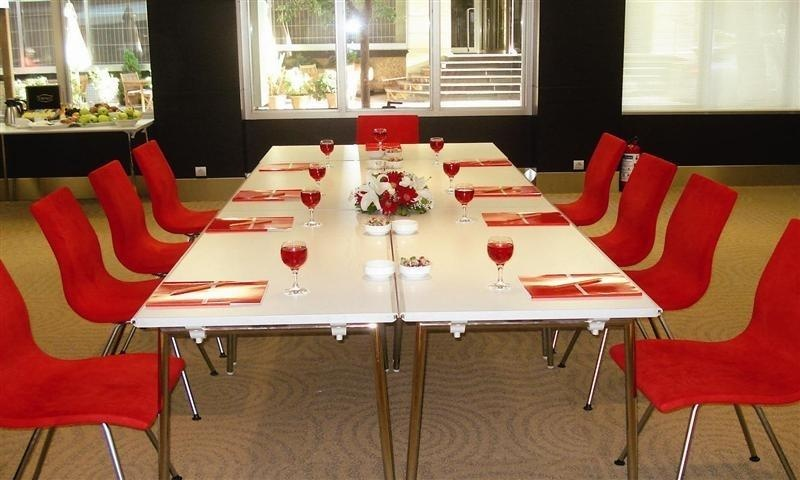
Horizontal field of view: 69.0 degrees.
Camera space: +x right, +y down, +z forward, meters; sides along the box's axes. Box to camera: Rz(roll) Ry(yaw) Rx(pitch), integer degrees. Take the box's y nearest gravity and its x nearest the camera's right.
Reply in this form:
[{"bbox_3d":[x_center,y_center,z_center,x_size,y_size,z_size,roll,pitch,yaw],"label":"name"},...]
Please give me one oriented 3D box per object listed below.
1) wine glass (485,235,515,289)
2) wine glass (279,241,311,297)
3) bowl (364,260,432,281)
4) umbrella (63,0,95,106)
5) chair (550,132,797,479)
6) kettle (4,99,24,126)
[{"bbox_3d":[0.524,0.085,3.035,0.123,0.248,0.295,2,20,9],"label":"wine glass"},{"bbox_3d":[-0.535,0.110,2.998,0.116,0.251,0.298,-5,20,-8],"label":"wine glass"},{"bbox_3d":[-0.008,0.159,3.072,0.246,0.057,0.142,1,13,3],"label":"bowl"},{"bbox_3d":[-4.526,-2.651,8.227,0.398,1.382,0.249,-4,21,-6],"label":"umbrella"},{"bbox_3d":[1.890,0.446,4.110,0.876,1.472,2.546,-1,21,-3],"label":"chair"},{"bbox_3d":[-5.125,-1.699,7.726,0.218,0.313,0.510,-9,21,-19],"label":"kettle"}]
